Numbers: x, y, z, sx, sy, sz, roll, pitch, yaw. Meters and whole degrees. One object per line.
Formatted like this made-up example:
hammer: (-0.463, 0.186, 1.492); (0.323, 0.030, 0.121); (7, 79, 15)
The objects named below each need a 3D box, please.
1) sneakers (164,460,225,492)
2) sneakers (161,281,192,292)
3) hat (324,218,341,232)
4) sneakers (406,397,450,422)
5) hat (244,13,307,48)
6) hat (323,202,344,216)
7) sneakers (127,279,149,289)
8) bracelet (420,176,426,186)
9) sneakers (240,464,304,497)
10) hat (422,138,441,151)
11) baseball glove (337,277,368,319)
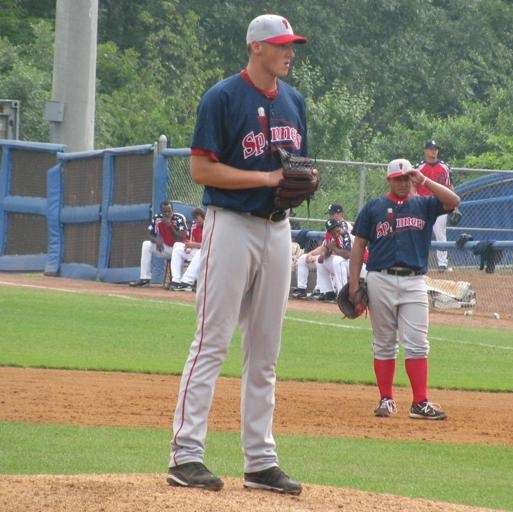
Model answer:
sneakers: (-0.586, 2.037, 12.394); (0.543, 0.260, 0.226); (2, -3, 17)
sneakers: (-1.304, 0.554, 21.965); (0.416, 0.243, 0.170); (6, -4, 7)
hat: (1.201, -0.449, 21.284); (0.225, 0.241, 0.158); (28, -9, -32)
sneakers: (1.905, 1.746, 14.927); (0.431, 0.245, 0.187); (2, -4, 2)
hat: (0.146, -2.084, 12.645); (0.403, 0.222, 0.309); (2, 8, 20)
hat: (1.278, -0.697, 21.449); (0.230, 0.161, 0.185); (6, 10, -8)
sneakers: (-1.999, 0.511, 22.549); (0.360, 0.196, 0.140); (2, -4, 3)
bracelet: (1.839, -0.788, 14.735); (0.054, 0.074, 0.026); (4, -3, 31)
sneakers: (0.151, 2.132, 12.636); (0.552, 0.282, 0.218); (3, -5, 17)
hat: (2.836, -1.716, 21.356); (0.238, 0.217, 0.362); (3, 2, -8)
baseball glove: (1.097, 0.521, 15.203); (0.145, 0.458, 0.300); (-3, 16, -38)
